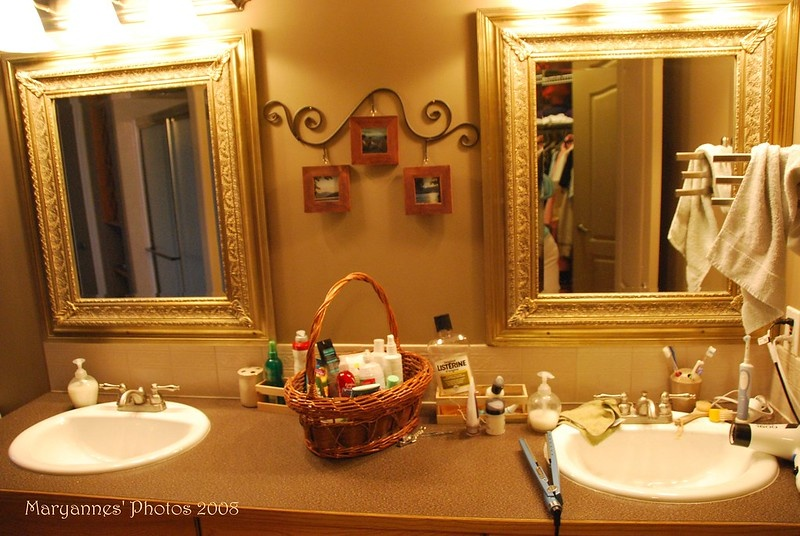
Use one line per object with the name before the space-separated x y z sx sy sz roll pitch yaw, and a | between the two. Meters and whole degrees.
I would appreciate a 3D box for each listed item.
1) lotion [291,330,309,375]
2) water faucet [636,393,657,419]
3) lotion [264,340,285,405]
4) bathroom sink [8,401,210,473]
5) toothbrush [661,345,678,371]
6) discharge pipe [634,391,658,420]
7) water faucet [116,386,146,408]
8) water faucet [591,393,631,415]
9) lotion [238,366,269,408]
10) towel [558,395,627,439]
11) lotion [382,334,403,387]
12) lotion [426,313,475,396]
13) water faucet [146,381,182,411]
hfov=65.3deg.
lotion | -0.366 0.327 2.326 0.066 0.164 0.282 -5 8 -10
water faucet | 0.860 0.495 2.194 0.053 0.063 0.102 -1 -7 8
lotion | -0.481 0.401 2.433 0.072 0.235 0.070 -3 17 2
bathroom sink | -1.035 0.643 2.267 0.687 0.179 0.380 -3 8 2
toothbrush | 0.996 0.337 2.301 0.056 0.109 0.091 0 10 24
discharge pipe | 0.857 0.489 2.196 0.054 0.064 0.104 -1 -6 7
water faucet | -1.020 0.498 2.387 0.052 0.077 0.138 1 -6 6
water faucet | 0.772 0.486 2.280 0.162 0.095 0.065 3 3 28
lotion | -0.589 0.469 2.491 0.136 0.144 0.132 -1 4 -35
towel | 0.711 0.517 2.222 0.172 0.198 0.049 -17 28 -15
lotion | -0.027 0.321 2.217 0.071 0.172 0.135 -4 9 -2
lotion | 0.187 0.321 2.324 0.153 0.283 0.200 -3 9 2
water faucet | -0.920 0.498 2.439 0.184 0.115 0.092 -1 2 -1
